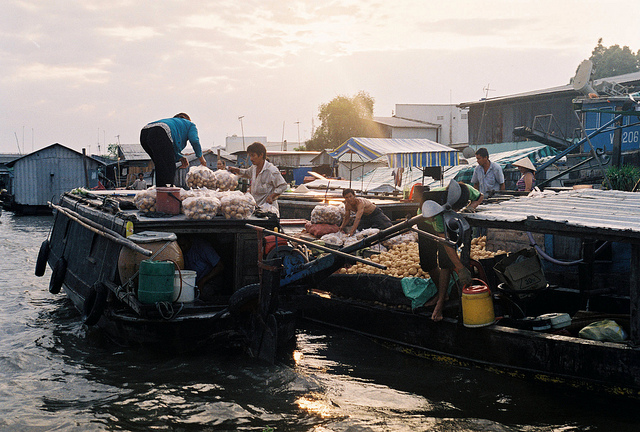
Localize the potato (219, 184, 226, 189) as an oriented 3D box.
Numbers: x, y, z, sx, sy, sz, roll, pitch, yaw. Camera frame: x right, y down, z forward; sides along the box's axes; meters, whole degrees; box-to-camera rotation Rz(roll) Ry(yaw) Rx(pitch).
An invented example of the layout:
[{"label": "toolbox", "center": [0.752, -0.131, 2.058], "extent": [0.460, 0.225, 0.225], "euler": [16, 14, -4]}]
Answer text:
[{"label": "potato", "center": [-1.747, -0.524, 12.409], "extent": [0.067, 0.082, 0.069], "euler": [3, 7, 35]}]

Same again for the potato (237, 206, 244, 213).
[{"label": "potato", "center": [-1.246, -0.096, 10.841], "extent": [0.035, 0.099, 0.104], "euler": [2, 6, 45]}]

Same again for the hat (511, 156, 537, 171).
[{"label": "hat", "center": [4.446, -1.110, 14.984], "extent": [0.418, 0.294, 0.498], "euler": [-1, 4, 17]}]

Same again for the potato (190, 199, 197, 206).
[{"label": "potato", "center": [-1.961, -0.200, 10.692], "extent": [0.065, 0.091, 0.042], "euler": [3, -9, -15]}]

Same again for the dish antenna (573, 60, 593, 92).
[{"label": "dish antenna", "center": [6.232, -3.311, 16.285], "extent": [0.399, 0.729, 0.762], "euler": [-1, 4, 17]}]

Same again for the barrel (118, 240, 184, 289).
[{"label": "barrel", "center": [-2.504, 0.682, 10.347], "extent": [0.724, 0.727, 0.741], "euler": [5, 4, 36]}]

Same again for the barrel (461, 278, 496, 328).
[{"label": "barrel", "center": [2.370, 1.269, 10.308], "extent": [0.570, 0.867, 0.573], "euler": [-7, 12, 2]}]

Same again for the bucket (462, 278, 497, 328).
[{"label": "bucket", "center": [2.385, 1.292, 10.308], "extent": [0.552, 0.805, 0.554], "euler": [-7, 12, 2]}]

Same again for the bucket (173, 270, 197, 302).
[{"label": "bucket", "center": [-2.030, 1.075, 10.349], "extent": [0.383, 0.394, 0.398], "euler": [-6, -3, 0]}]

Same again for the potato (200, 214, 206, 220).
[{"label": "potato", "center": [-1.814, 0.015, 10.685], "extent": [0.089, 0.071, 0.034], "euler": [-3, 4, -9]}]

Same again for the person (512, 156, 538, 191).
[{"label": "person", "center": [4.472, -0.704, 15.057], "extent": [0.566, 1.130, 0.509], "euler": [1, -2, 7]}]

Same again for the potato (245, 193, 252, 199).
[{"label": "potato", "center": [-1.189, -0.324, 11.432], "extent": [0.144, 0.065, 0.204], "euler": [-1, 4, -17]}]

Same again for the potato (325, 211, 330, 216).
[{"label": "potato", "center": [0.165, -0.044, 14.641], "extent": [0.039, 0.082, 0.151], "euler": [1, -2, -34]}]

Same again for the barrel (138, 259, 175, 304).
[{"label": "barrel", "center": [-2.400, 0.976, 10.154], "extent": [0.551, 0.630, 0.540], "euler": [0, 3, -26]}]

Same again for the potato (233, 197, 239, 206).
[{"label": "potato", "center": [-1.330, -0.218, 10.838], "extent": [0.082, 0.115, 0.044], "euler": [5, 1, 5]}]

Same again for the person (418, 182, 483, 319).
[{"label": "person", "center": [1.950, 0.535, 10.543], "extent": [0.904, 2.058, 1.157], "euler": [-1, 4, 11]}]

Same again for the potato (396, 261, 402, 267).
[{"label": "potato", "center": [1.374, 0.837, 11.949], "extent": [0.110, 0.089, 0.119], "euler": [0, 4, 24]}]

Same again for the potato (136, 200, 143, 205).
[{"label": "potato", "center": [-2.884, -0.206, 11.009], "extent": [0.058, 0.082, 0.035], "euler": [0, -27, 23]}]

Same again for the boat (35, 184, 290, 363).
[{"label": "boat", "center": [-2.825, 0.882, 11.257], "extent": [5.125, 2.644, 2.305], "euler": [2, 6, 45]}]

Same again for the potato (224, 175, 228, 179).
[{"label": "potato", "center": [-1.692, -0.696, 12.447], "extent": [0.023, 0.069, 0.055], "euler": [2, 6, 42]}]

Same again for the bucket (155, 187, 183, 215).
[{"label": "bucket", "center": [-2.455, -0.229, 11.025], "extent": [0.378, 0.424, 0.399], "euler": [-9, 4, 1]}]

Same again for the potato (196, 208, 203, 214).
[{"label": "potato", "center": [-1.862, -0.068, 10.649], "extent": [0.077, 0.078, 0.047], "euler": [6, -15, -6]}]
